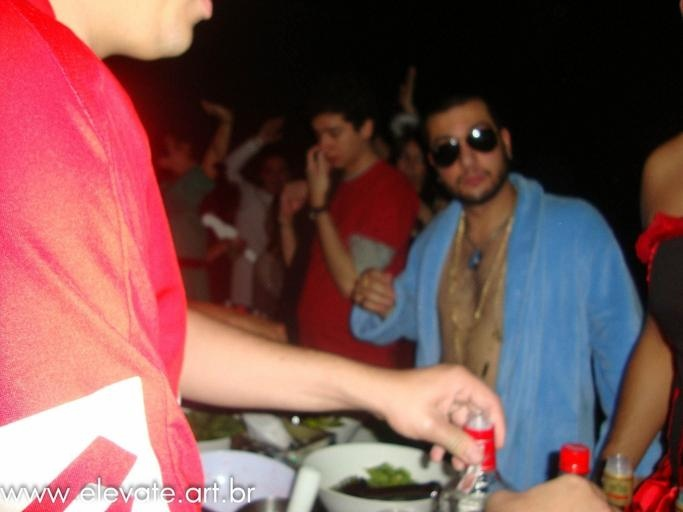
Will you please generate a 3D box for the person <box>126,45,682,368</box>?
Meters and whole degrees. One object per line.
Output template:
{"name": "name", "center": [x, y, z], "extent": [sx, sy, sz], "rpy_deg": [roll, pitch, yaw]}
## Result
{"name": "person", "center": [0.291, -0.176, 2.235], "extent": [1.920, 1.373, 0.466], "rpy_deg": [-2, -9, 24]}
